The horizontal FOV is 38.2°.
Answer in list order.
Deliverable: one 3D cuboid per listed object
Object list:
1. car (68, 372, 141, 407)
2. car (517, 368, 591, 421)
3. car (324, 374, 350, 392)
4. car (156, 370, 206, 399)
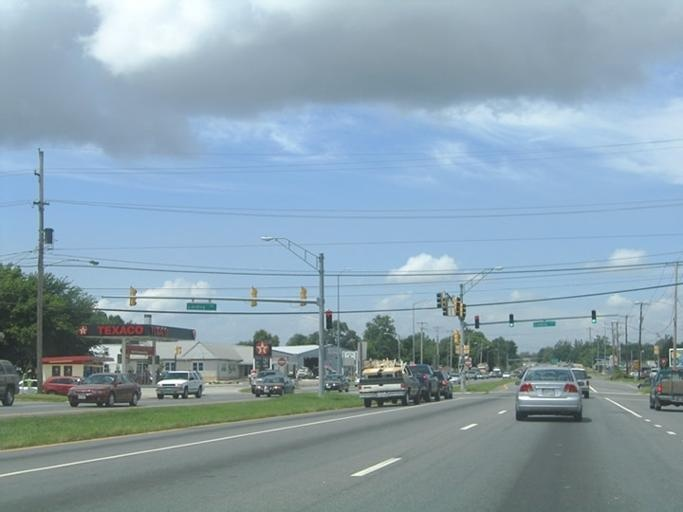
[{"bbox_3d":[-11.601,6.653,48.726,1.893,1.712,3.528,-6,-10,27],"label":"car"},{"bbox_3d":[7.223,4.869,34.565,2.193,1.794,0.924,-2,-7,2],"label":"car"},{"bbox_3d":[-0.410,10.102,77.861,1.722,1.537,4.497,-1,-9,0],"label":"car"},{"bbox_3d":[-9.909,7.968,60.815,1.471,1.154,2.903,-3,-14,10],"label":"car"}]
